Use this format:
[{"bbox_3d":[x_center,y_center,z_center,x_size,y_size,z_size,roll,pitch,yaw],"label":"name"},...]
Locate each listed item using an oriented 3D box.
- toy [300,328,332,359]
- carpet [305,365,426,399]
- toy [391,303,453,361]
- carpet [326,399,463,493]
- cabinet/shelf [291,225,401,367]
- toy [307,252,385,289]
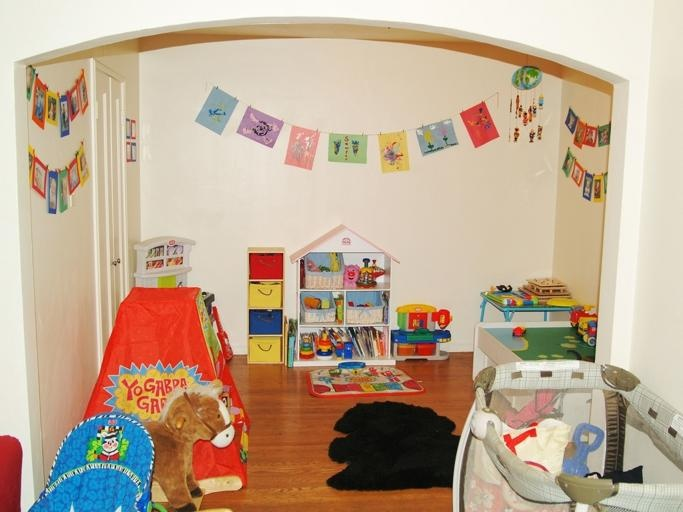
[{"bbox_3d":[-0.239,0.811,4.957,0.310,0.201,0.320,-1,12,-4],"label":"toy"},{"bbox_3d":[0.179,1.047,4.482,0.935,0.053,0.628,-2,12,-10],"label":"carpet"},{"bbox_3d":[0.717,0.653,5.147,0.737,0.699,0.418,0,-1,-4],"label":"toy"},{"bbox_3d":[0.354,1.226,3.531,0.866,0.081,1.003,1,12,4],"label":"carpet"},{"bbox_3d":[0.004,0.385,4.908,1.194,1.650,0.550,0,1,-7],"label":"cabinet/shelf"},{"bbox_3d":[0.006,0.141,4.932,0.513,0.206,0.392,-2,6,-8],"label":"toy"}]
